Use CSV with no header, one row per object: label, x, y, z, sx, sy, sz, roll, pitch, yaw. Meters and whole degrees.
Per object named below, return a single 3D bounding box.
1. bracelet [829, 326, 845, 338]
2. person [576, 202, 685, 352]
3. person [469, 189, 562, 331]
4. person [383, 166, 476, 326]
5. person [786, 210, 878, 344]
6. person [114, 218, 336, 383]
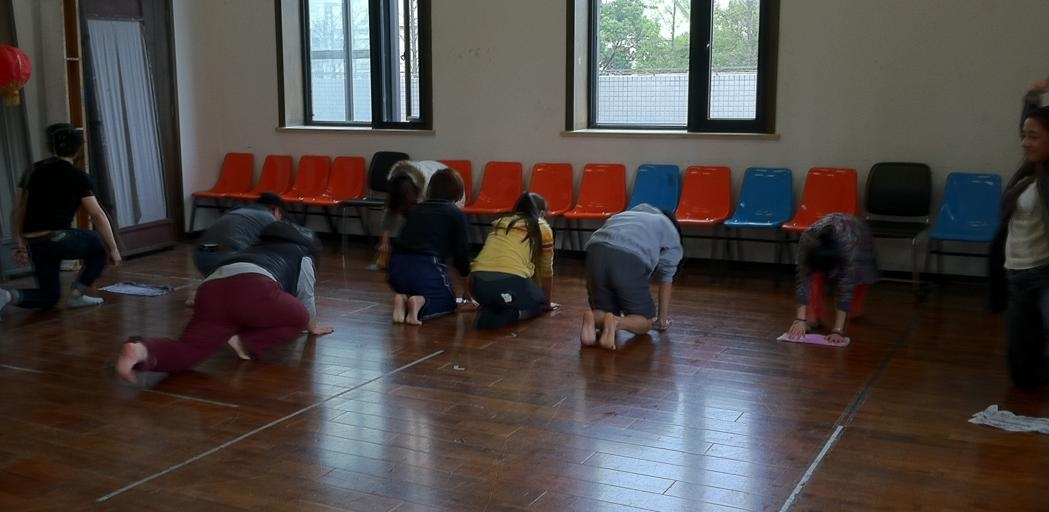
bracelet,3.181,0.796,6.764,0.153,0.088,0.140,7,5,-45
person,1.103,0.168,7.084,1.022,1.416,1.642,7,7,23
person,-0.130,0.047,7.077,0.877,1.417,0.339,-4,17,-12
person,-1.058,-0.117,7.225,0.891,1.647,0.553,-4,17,-9
person,3.243,0.183,6.854,0.680,1.271,0.968,9,19,31
person,-2.840,0.398,6.344,1.219,1.103,2.550,11,13,15
